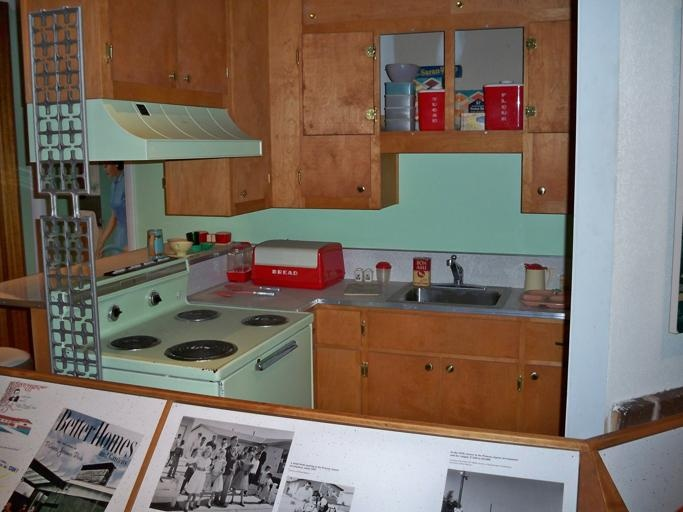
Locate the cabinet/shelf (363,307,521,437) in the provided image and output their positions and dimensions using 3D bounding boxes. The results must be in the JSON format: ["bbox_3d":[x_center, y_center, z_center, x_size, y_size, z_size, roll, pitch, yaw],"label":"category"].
[{"bbox_3d":[0.608,0.620,3.227,0.729,0.650,0.280,1,1,16],"label":"cabinet/shelf"}]

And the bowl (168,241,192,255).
[{"bbox_3d":[-1.075,-0.056,3.829,0.174,0.098,0.146,-1,10,2],"label":"bowl"}]

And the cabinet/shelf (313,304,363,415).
[{"bbox_3d":[-0.016,0.643,3.601,0.308,0.659,0.102,-1,10,0],"label":"cabinet/shelf"}]

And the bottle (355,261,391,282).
[{"bbox_3d":[0.235,0.120,4.078,0.243,0.133,0.115,0,3,26],"label":"bottle"}]

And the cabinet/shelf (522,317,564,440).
[{"bbox_3d":[1.153,0.696,3.281,0.254,0.663,0.163,5,12,34],"label":"cabinet/shelf"}]

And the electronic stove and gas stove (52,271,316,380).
[{"bbox_3d":[-0.828,0.383,3.008,0.572,0.473,0.748,2,7,18],"label":"electronic stove and gas stove"}]

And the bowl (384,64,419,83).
[{"bbox_3d":[0.379,-1.114,3.567,0.146,0.068,0.144,1,8,0],"label":"bowl"}]

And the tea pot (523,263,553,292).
[{"bbox_3d":[1.248,0.143,3.664,0.191,0.187,0.142,2,6,21],"label":"tea pot"}]

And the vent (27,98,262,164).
[{"bbox_3d":[-0.820,-0.631,2.925,0.343,0.286,0.949,2,11,21],"label":"vent"}]

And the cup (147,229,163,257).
[{"bbox_3d":[-1.107,-0.072,3.418,0.079,0.168,0.152,0,10,11],"label":"cup"}]
